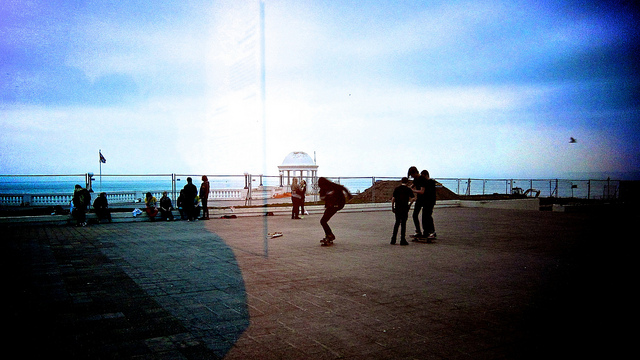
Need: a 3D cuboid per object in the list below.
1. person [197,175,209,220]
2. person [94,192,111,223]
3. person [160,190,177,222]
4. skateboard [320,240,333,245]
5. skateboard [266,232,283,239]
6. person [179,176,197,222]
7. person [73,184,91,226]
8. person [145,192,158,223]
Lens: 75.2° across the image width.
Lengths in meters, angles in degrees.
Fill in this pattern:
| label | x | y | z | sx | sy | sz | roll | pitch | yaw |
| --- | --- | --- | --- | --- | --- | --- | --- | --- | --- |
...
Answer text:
| label | x | y | z | sx | sy | sz | roll | pitch | yaw |
| --- | --- | --- | --- | --- | --- | --- | --- | --- | --- |
| person | -6.264 | 0.953 | 22.512 | 0.557 | 2.381 | 0.597 | -1 | 4 | -15 |
| person | -10.802 | 1.377 | 20.671 | 0.538 | 1.509 | 0.780 | 0 | 4 | 3 |
| person | -8.013 | 1.359 | 22.097 | 0.481 | 1.541 | 0.781 | 3 | 5 | 37 |
| skateboard | 0.297 | 2.251 | 15.191 | 0.485 | 0.177 | 0.243 | -2 | 4 | -26 |
| skateboard | -1.825 | 2.196 | 16.536 | 0.638 | 0.215 | 0.206 | 4 | -4 | -33 |
| person | -6.866 | 1.166 | 21.928 | 0.731 | 1.912 | 0.453 | -1 | 4 | -15 |
| person | -11.263 | 1.288 | 19.681 | 0.597 | 1.729 | 0.431 | -2 | 5 | -27 |
| person | -8.793 | 1.384 | 21.818 | 0.553 | 1.500 | 0.543 | -1 | 4 | -22 |
